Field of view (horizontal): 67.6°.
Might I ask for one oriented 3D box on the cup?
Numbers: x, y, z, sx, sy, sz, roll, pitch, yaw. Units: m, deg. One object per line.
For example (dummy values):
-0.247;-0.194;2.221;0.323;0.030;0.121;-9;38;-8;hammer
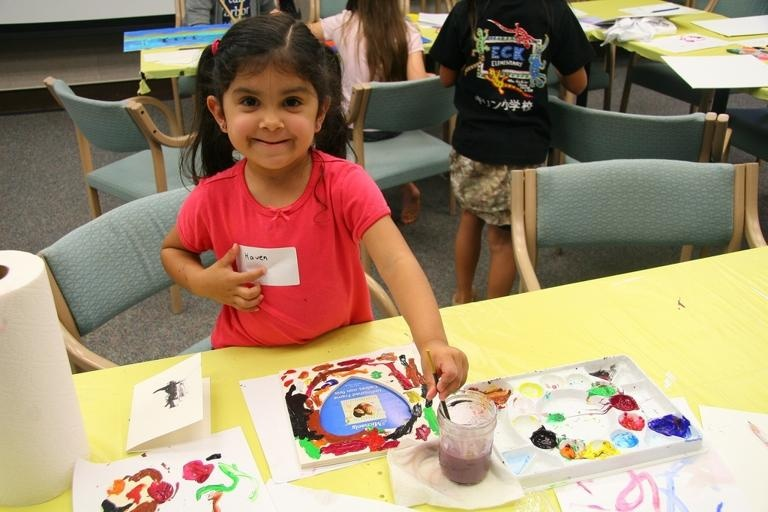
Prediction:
0.146;0.335;1.085;0.150;0.213;0.137;0;42;3;cup
